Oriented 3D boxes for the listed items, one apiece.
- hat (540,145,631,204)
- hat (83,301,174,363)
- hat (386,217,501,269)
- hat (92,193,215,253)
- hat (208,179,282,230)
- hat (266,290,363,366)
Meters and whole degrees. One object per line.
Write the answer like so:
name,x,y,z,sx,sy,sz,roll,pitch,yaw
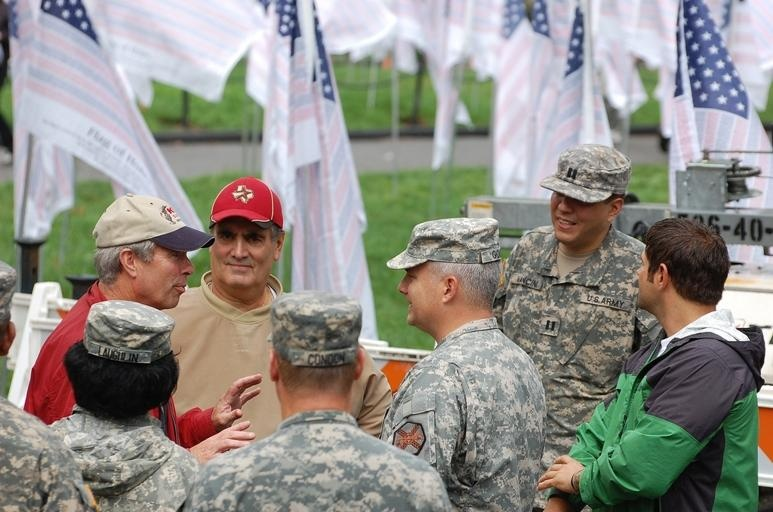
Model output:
hat,1.414,-0.578,11.596,0.387,0.258,0.515,21,29,35
hat,-1.658,0.457,10.427,0.608,0.350,0.500,2,18,-10
hat,0.340,-0.076,10.878,0.813,0.307,0.632,-5,4,-3
hat,-1.585,-0.198,11.013,0.592,0.298,0.396,2,3,-9
hat,-0.973,-0.369,11.394,0.461,0.396,0.648,7,8,14
hat,-0.447,0.419,10.178,0.524,0.371,0.665,4,14,3
